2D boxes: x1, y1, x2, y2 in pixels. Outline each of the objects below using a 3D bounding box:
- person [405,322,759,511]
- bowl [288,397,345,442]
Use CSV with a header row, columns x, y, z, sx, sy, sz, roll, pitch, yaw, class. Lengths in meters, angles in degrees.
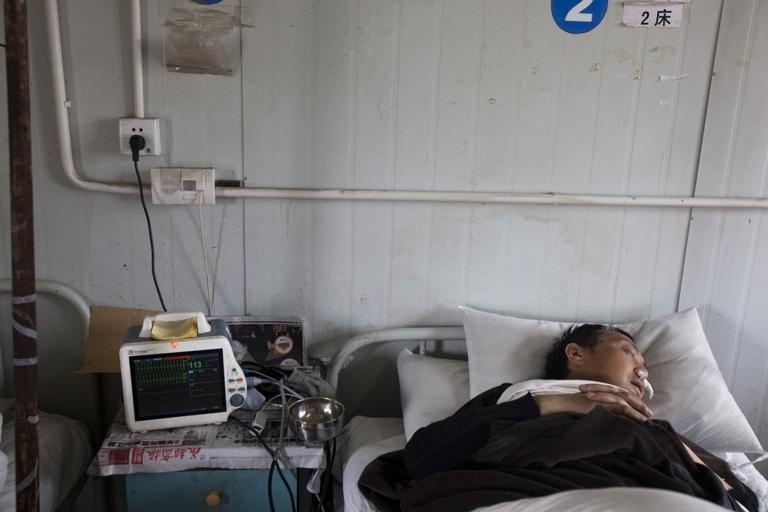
x,y,z,sx,sy,sz,roll,pitch,yaw,class
0.571,0.548,1.857,0.758,0.237,0.656,-8,19,-12,person
-0.235,0.561,1.992,0.161,0.086,0.156,1,-3,0,bowl
